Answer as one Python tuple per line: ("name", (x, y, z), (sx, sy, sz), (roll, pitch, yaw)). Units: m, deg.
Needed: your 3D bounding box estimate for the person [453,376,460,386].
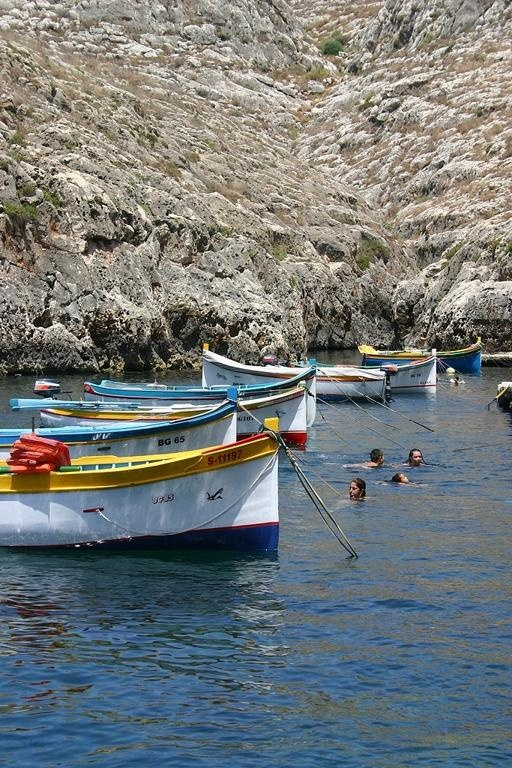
("person", (8.920, -0.130, 53.177), (0.259, 0.301, 0.882), (2, 2, 7))
